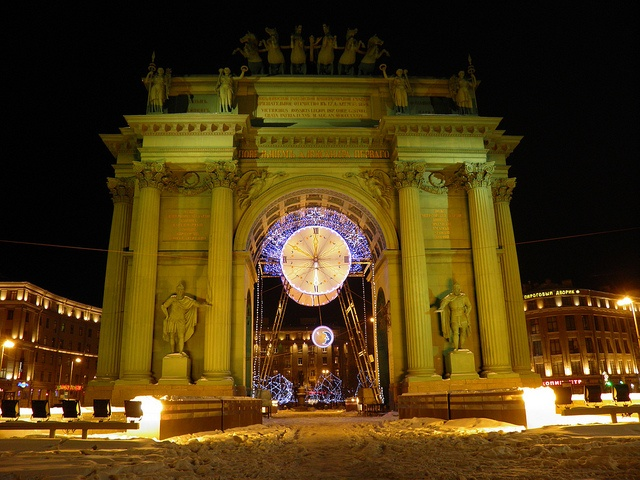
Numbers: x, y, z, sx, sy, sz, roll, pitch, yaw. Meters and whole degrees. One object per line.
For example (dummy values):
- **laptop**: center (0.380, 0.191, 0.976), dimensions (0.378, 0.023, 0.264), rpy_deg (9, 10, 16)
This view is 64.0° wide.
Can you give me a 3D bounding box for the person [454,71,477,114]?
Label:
- **person**: center (8.658, -8.653, 30.168), dimensions (1.288, 2.773, 0.614), rpy_deg (3, -7, -24)
